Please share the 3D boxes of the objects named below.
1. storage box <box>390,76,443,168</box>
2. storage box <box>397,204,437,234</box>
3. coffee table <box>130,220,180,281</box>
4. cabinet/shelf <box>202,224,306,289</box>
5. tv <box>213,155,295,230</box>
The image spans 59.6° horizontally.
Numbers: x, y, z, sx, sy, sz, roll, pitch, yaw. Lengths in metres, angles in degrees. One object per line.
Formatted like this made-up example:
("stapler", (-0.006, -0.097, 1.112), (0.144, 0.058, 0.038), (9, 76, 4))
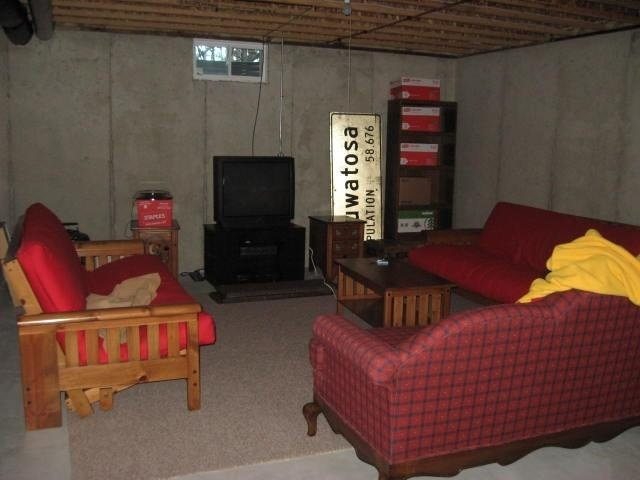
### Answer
("storage box", (1.220, -1.489, 7.029), (0.607, 1.084, 0.461), (0, 13, 8))
("storage box", (1.231, -0.264, 7.102), (0.585, 0.365, 0.313), (-2, 4, -15))
("coffee table", (-1.706, 0.183, 6.076), (0.357, 0.504, 0.374), (-24, 15, -28))
("cabinet/shelf", (-0.520, 0.109, 6.177), (1.120, 0.677, 0.652), (0, 16, 19))
("tv", (-0.732, -0.607, 6.407), (1.170, 0.988, 0.644), (-1, 22, -9))
